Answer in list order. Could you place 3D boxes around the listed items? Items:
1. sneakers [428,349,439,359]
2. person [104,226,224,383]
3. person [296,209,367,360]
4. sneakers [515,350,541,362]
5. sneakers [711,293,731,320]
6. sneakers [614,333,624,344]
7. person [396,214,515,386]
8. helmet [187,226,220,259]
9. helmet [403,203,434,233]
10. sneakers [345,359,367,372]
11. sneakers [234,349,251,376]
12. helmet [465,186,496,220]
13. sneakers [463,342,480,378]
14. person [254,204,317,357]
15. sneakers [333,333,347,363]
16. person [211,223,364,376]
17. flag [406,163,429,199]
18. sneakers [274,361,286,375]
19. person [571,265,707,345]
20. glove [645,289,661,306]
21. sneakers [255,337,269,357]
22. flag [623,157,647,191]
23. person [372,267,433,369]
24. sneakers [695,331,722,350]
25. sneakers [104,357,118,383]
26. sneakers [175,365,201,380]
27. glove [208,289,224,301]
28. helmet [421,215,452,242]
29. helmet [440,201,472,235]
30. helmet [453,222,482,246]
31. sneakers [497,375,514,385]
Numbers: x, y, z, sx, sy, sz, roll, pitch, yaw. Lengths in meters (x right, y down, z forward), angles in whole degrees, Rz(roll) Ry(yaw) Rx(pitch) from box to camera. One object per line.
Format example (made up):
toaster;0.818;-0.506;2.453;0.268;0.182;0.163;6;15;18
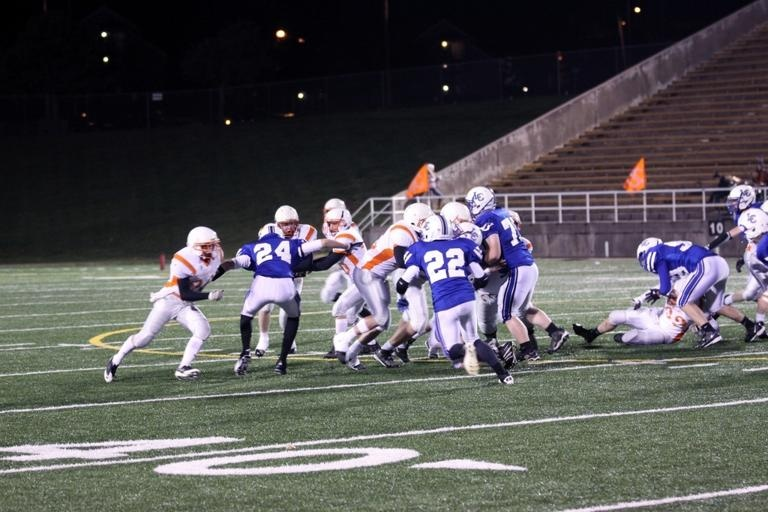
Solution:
sneakers;0.574;1.117;11.800;0.168;0.093;0.141;1;-14;2
person;-2.237;0.484;10.689;1.081;1.564;0.805;-2;6;-10
person;-0.593;0.207;12.732;0.969;1.810;0.592;-9;23;0
sneakers;1.587;1.093;11.281;0.294;0.136;0.106;3;5;11
sneakers;4.109;0.585;12.458;0.121;0.335;0.246;38;11;21
sneakers;2.810;0.963;12.199;0.109;0.096;0.120;5;-12;-15
person;0.703;0.418;10.334;0.702;1.671;1.171;-6;8;-41
helmet;-1.941;-0.181;10.820;0.373;0.279;0.276;22;6;34
helmet;0.366;-0.476;11.314;0.329;0.311;0.275;-24;17;5
sneakers;-0.307;1.187;11.155;0.095;0.119;0.273;-3;-14;-33
sneakers;-1.498;1.153;11.028;0.132;0.318;0.153;24;-7;-32
helmet;1.104;-0.653;11.844;0.375;0.353;0.290;3;7;19
sneakers;0.854;0.997;10.035;0.140;0.327;0.172;-1;6;4
person;-1.186;0.268;12.382;1.010;1.644;0.428;3;-1;17
sneakers;-0.484;0.996;11.180;0.164;0.347;0.129;4;-10;-26
person;-1.163;0.531;11.390;1.342;1.468;0.327;-2;-43;1
flag;0.954;-2.093;28.244;0.658;0.919;0.998;-1;6;1
sneakers;-1.088;1.181;10.883;0.160;0.156;0.099;-3;-5;12
person;3.025;0.596;12.167;1.669;0.935;1.068;-11;8;22
glove;3.226;0.467;12.285;0.159;0.202;0.068;39;5;-10
sneakers;-1.443;1.072;12.059;0.100;0.140;0.318;5;-37;-9
flag;6.545;-2.184;26.588;0.469;0.814;1.548;0;6;11
person;0.202;0.701;11.413;0.593;0.371;1.114;-4;-38;-14
sneakers;3.740;0.954;11.732;0.319;0.143;0.106;-24;0;-3
sneakers;-2.846;1.163;10.728;0.115;0.141;0.326;25;21;-29
sneakers;-2.040;1.203;10.629;0.236;0.113;0.128;-9;-17;16
glove;-1.708;0.378;10.396;0.150;0.078;0.169;2;-5;-6
helmet;0.546;-0.302;10.571;0.230;0.225;0.303;-4;5;-14
helmet;0.765;-0.467;10.974;0.326;0.313;0.271;-19;23;-20
helmet;0.914;-0.271;10.968;0.271;0.265;0.206;-25;-12;8
sneakers;1.208;1.210;10.158;0.160;0.095;0.084;-6;16;28
